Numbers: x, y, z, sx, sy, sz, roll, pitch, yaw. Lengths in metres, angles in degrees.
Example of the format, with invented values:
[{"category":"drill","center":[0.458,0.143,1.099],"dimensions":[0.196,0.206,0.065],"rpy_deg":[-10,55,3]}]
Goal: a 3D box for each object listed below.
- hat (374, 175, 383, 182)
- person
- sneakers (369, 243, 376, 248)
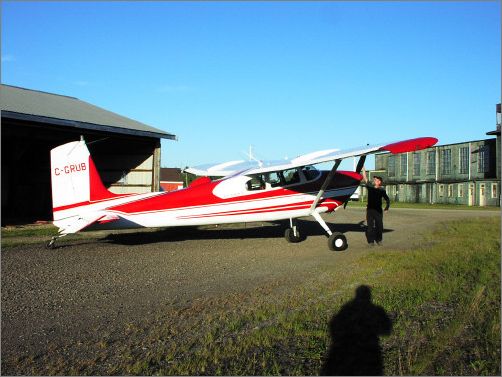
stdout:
[{"category":"hat","center":[3.253,-0.243,9.973],"dimensions":[0.175,0.101,0.137],"rpy_deg":[34,13,31]},{"category":"person","center":[3.307,0.514,10.248],"dimensions":[0.632,2.019,1.212],"rpy_deg":[0,7,15]},{"category":"sneakers","center":[3.093,1.454,9.900],"dimensions":[0.135,0.098,0.212],"rpy_deg":[1,7,22]}]
